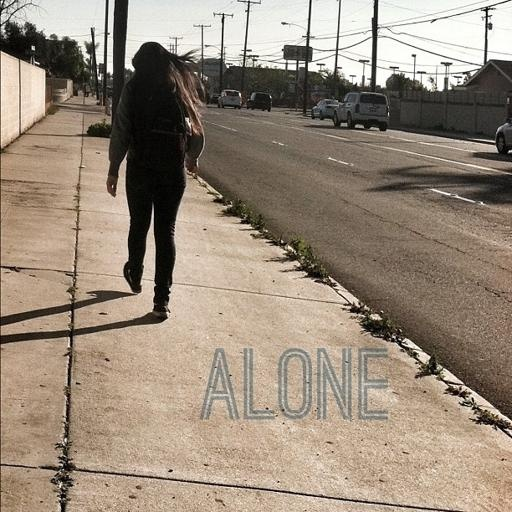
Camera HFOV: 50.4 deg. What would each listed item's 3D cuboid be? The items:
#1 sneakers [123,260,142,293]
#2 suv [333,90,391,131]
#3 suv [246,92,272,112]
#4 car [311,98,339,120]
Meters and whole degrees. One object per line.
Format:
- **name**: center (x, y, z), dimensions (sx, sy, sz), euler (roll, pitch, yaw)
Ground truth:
- **sneakers**: center (-1.107, 0.195, 4.913), dimensions (0.099, 0.389, 0.118), euler (1, 14, 25)
- **suv**: center (7.358, -10.224, 39.090), dimensions (2.038, 2.585, 4.987), euler (-1, 19, -12)
- **suv**: center (0.411, -19.010, 66.842), dimensions (3.146, 2.183, 2.133), euler (11, 11, 20)
- **car**: center (6.932, -14.953, 55.608), dimensions (1.477, 1.625, 4.122), euler (-1, 16, -3)
